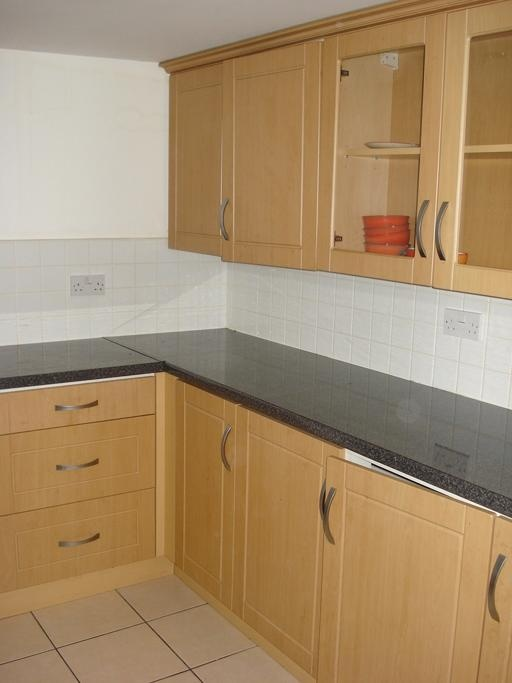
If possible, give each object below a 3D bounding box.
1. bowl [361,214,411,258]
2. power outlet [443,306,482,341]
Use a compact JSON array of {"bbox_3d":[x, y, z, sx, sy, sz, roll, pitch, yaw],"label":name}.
[{"bbox_3d":[0.367,-0.295,1.471,0.094,0.082,0.118,2,7,13],"label":"bowl"},{"bbox_3d":[0.646,-0.058,1.629,0.014,0.071,0.089,-7,14,-30],"label":"power outlet"}]
